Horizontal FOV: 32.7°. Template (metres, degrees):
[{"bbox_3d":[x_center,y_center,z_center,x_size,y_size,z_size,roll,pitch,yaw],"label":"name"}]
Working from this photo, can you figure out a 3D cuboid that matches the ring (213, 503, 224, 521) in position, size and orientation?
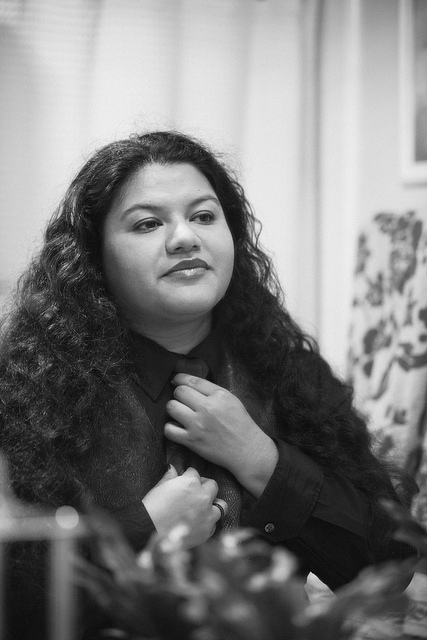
[{"bbox_3d":[0.009,0.340,1.279,0.023,0.034,0.013,2,7,-25],"label":"ring"}]

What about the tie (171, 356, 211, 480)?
[{"bbox_3d":[-0.045,0.181,1.340,0.070,0.205,0.197,5,6,-3],"label":"tie"}]

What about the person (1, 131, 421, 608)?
[{"bbox_3d":[0.014,0.059,1.398,0.793,0.820,0.446,3,6,-15],"label":"person"}]
